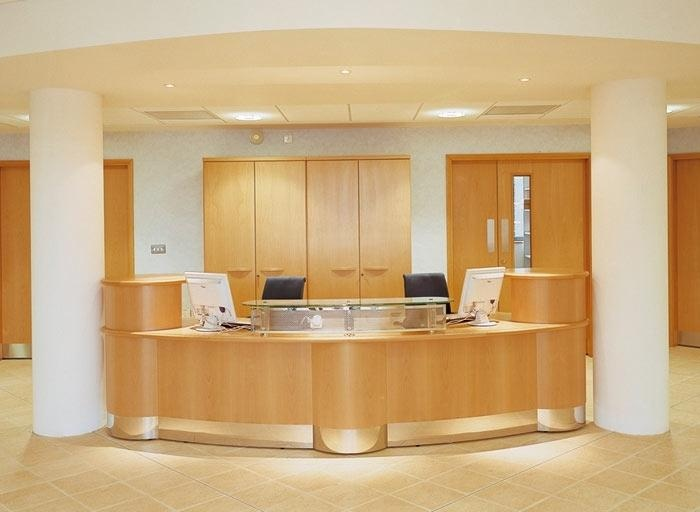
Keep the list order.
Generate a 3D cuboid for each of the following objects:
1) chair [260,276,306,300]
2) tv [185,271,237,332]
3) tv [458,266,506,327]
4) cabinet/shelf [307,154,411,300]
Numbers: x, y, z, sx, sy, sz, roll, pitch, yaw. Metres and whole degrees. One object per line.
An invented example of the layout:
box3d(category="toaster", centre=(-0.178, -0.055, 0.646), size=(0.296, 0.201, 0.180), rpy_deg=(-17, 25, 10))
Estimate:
box3d(category="chair", centre=(-0.753, 0.366, 6.564), size=(0.295, 0.383, 0.370), rpy_deg=(2, -4, 12))
box3d(category="tv", centre=(-1.319, 0.427, 5.451), size=(0.500, 0.570, 0.232), rpy_deg=(7, 14, 37))
box3d(category="tv", centre=(1.270, 0.392, 5.486), size=(0.444, 0.560, 0.189), rpy_deg=(-2, 11, -3))
box3d(category="cabinet/shelf", centre=(0.119, -0.402, 7.727), size=(1.405, 1.857, 0.376), rpy_deg=(-2, 11, -4))
